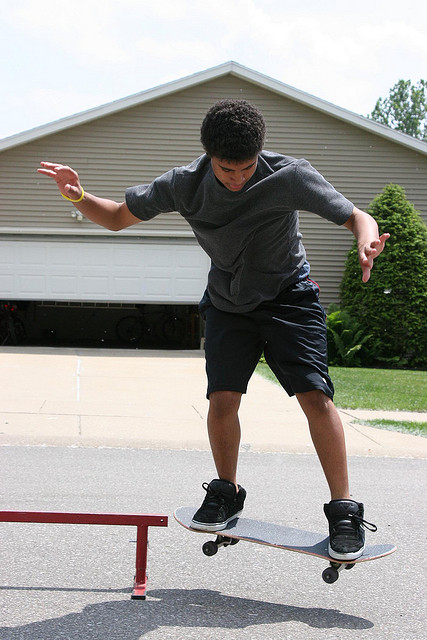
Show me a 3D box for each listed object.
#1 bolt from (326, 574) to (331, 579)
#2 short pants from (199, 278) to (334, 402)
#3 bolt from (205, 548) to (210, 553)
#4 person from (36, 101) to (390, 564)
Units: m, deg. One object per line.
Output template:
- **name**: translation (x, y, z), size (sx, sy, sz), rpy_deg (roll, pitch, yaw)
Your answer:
- **bolt**: translation (0.410, 0.921, 2.531), size (0.017, 0.017, 0.002), rpy_deg (3, 9, -4)
- **short pants**: translation (0.207, 0.086, 2.945), size (0.592, 0.535, 0.428), rpy_deg (5, 9, 5)
- **bolt**: translation (-0.026, 0.879, 2.696), size (0.019, 0.020, 0.008), rpy_deg (-4, 13, -44)
- **person**: translation (0.153, 0.005, 2.812), size (0.717, 1.628, 1.201), rpy_deg (-4, 12, -41)
